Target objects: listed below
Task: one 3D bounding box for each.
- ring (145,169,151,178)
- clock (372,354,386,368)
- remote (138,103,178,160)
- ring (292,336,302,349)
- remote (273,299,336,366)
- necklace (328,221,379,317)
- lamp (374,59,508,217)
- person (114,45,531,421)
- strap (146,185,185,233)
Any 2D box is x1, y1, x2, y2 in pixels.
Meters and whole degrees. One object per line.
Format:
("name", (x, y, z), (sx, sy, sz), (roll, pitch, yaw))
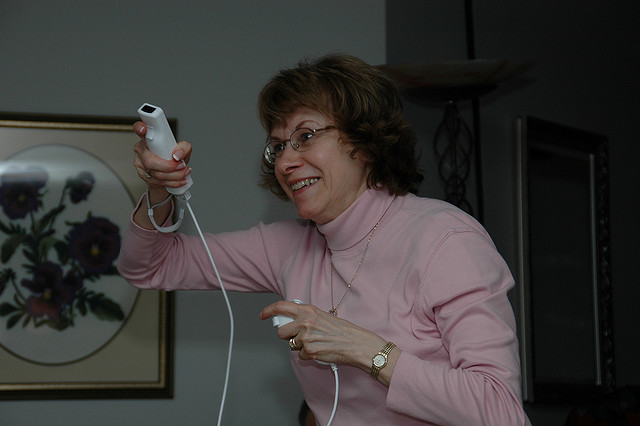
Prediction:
("ring", (-0.566, -0.126, 2.099), (0.026, 0.025, 0.007), (4, 5, 38))
("clock", (0.172, 0.426, 1.861), (0.038, 0.039, 0.007), (0, -10, -6))
("remote", (-0.507, -0.249, 2.003), (0.093, 0.154, 0.115), (-1, -10, 1))
("ring", (-0.070, 0.386, 1.923), (0.024, 0.034, 0.017), (3, -11, -19))
("remote", (-0.052, 0.374, 2.001), (0.185, 0.207, 0.209), (0, -10, -3))
("necklace", (0.098, 0.187, 2.154), (0.091, 0.348, 0.030), (6, -36, 39))
("lamp", (0.633, -0.299, 2.750), (0.552, 0.776, 0.594), (-3, 3, 38))
("person", (0.003, 0.102, 2.293), (0.883, 1.433, 0.919), (17, -38, -41))
("strap", (-0.528, -0.008, 2.174), (0.124, 0.138, 0.182), (2, -10, -15))
